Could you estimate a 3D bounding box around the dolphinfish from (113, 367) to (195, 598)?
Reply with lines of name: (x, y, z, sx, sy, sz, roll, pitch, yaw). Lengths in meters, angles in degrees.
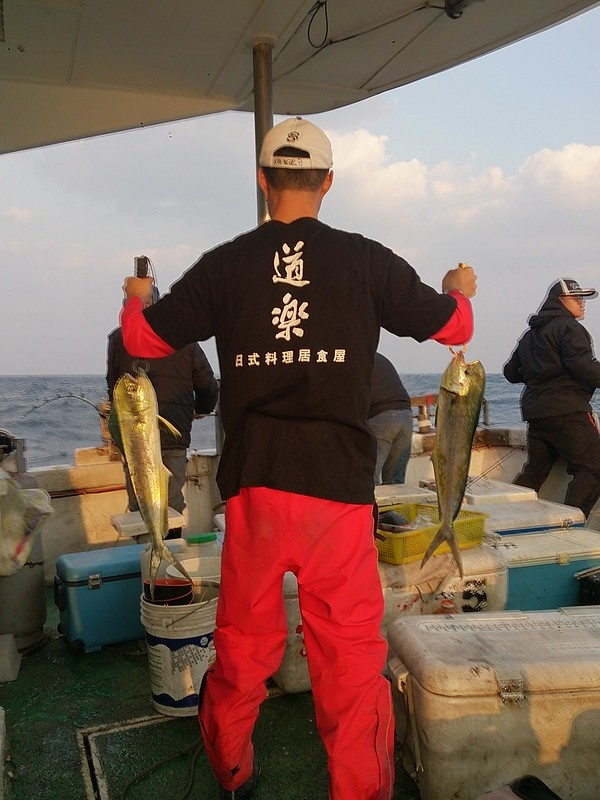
dolphinfish: (-0.513, 0.253, 2.421, 0.398, 0.920, 0.232, -5, 7, -3)
